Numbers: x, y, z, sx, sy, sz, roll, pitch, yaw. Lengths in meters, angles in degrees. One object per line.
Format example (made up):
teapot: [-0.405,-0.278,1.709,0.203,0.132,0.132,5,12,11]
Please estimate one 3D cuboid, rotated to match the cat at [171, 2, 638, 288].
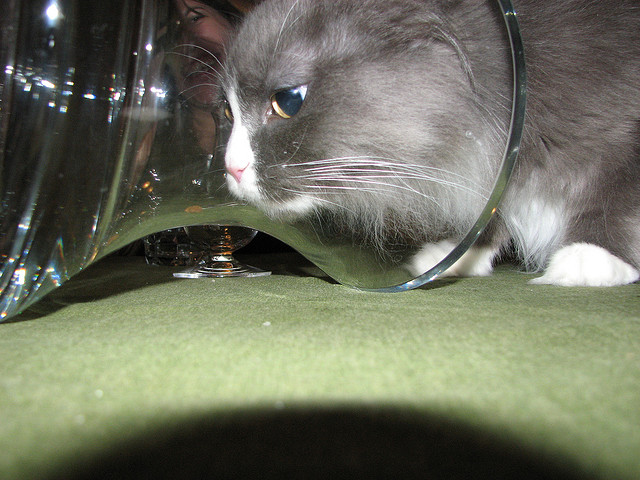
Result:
cat: [0.174,-0.126,0.825,0.686,0.383,0.346,3,-15,-7]
